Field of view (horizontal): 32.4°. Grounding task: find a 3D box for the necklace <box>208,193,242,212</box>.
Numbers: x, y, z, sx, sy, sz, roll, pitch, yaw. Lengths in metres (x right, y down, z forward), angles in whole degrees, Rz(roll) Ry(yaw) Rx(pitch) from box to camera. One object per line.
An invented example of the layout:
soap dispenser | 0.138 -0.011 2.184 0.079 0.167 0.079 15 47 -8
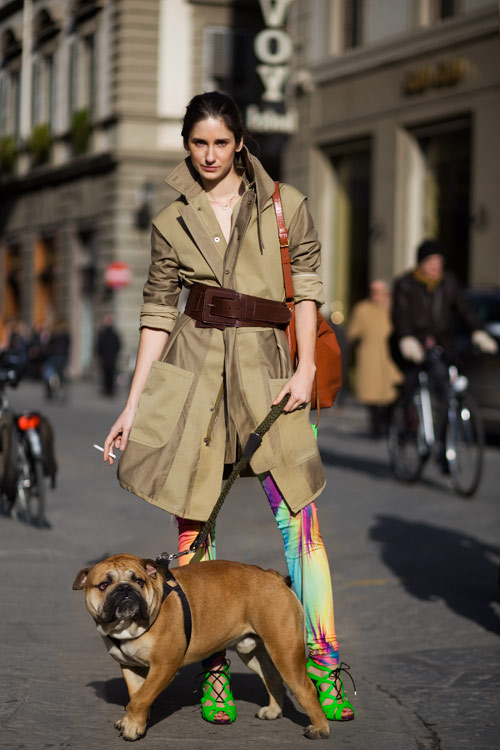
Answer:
necklace | -0.076 -0.486 2.475 0.061 0.062 0.019 -1 -30 -5

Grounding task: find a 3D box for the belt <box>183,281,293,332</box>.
belt | -0.033 -0.166 2.431 0.198 0.086 0.147 8 -2 -3

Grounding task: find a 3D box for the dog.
dog | -0.123 0.724 2.278 0.620 0.536 0.350 -1 -1 -24

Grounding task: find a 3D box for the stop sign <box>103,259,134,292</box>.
stop sign | -3.923 -2.849 25.223 0.715 0.558 0.738 -6 19 -10

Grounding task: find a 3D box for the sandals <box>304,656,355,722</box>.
sandals | 0.232 0.845 2.470 0.079 0.103 0.241 -8 54 -17

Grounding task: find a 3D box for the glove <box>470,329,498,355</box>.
glove | 2.057 -0.265 7.576 0.095 0.250 0.234 -38 38 -8
